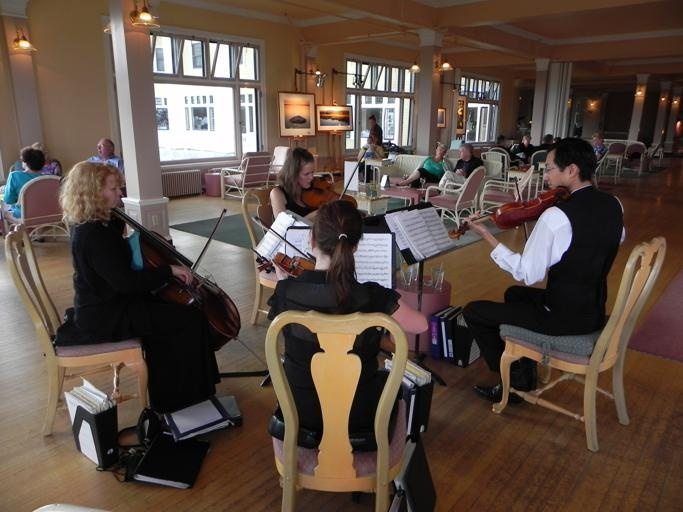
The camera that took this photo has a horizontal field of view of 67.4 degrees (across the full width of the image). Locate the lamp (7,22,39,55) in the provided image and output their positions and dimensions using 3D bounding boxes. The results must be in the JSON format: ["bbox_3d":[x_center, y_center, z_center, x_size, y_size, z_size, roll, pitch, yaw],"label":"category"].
[{"bbox_3d":[-4.477,-3.046,7.217,0.293,0.337,0.474,-10,18,-29],"label":"lamp"}]

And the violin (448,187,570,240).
[{"bbox_3d":[1.117,-0.205,3.493,0.717,0.197,0.200,-9,-13,-2],"label":"violin"}]

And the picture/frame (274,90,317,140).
[{"bbox_3d":[-1.048,-3.143,11.369,1.070,1.043,0.113,-9,13,-40],"label":"picture/frame"}]

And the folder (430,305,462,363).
[{"bbox_3d":[0.760,0.582,3.744,0.177,0.312,0.312,9,19,29],"label":"folder"}]

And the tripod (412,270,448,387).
[{"bbox_3d":[0.576,0.434,3.627,0.241,0.818,0.292,5,14,-11],"label":"tripod"}]

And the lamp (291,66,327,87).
[{"bbox_3d":[-0.684,-4.072,11.561,0.617,0.439,0.440,3,22,9],"label":"lamp"}]
